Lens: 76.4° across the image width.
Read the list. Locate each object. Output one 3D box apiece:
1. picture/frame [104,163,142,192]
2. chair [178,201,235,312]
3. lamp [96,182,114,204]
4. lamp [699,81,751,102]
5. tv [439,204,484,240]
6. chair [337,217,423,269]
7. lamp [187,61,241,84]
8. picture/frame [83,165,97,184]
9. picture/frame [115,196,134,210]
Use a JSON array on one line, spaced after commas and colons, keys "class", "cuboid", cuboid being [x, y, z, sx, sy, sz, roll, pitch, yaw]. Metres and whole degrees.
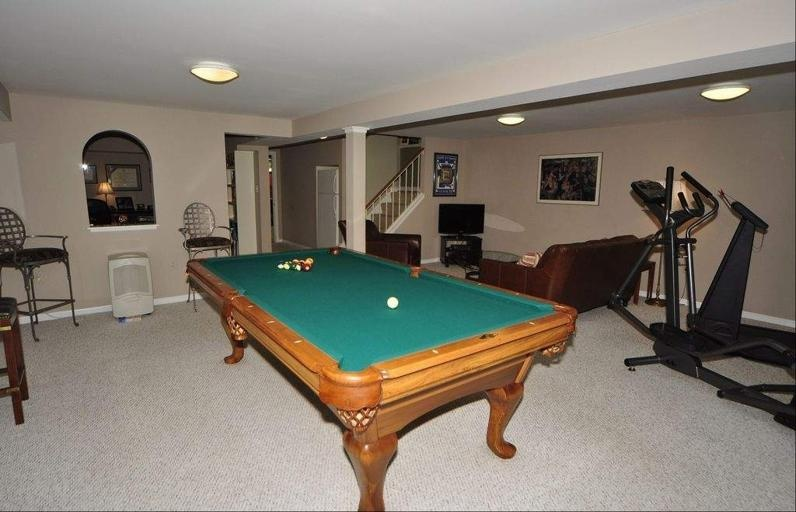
[{"class": "picture/frame", "cuboid": [-5.836, -1.686, 10.658, 0.036, 0.530, 0.525, 8, 22, 40]}, {"class": "chair", "cuboid": [-2.938, -0.060, 7.677, 0.723, 1.420, 0.691, -8, 14, -42]}, {"class": "lamp", "cuboid": [-6.089, -1.320, 10.532, 0.305, 0.504, 0.100, -7, 12, -30]}, {"class": "lamp", "cuboid": [3.746, -1.901, 5.784, 0.339, 0.135, 0.385, -3, 9, -13]}, {"class": "tv", "cuboid": [1.303, -0.759, 10.412, 0.933, 0.668, 0.376, 0, 10, 6]}, {"class": "chair", "cuboid": [-0.262, -0.206, 8.598, 1.107, 1.025, 0.958, 2, 8, 11]}, {"class": "lamp", "cuboid": [-2.016, -2.036, 5.558, 0.498, 0.166, 0.271, -3, 9, -13]}, {"class": "picture/frame", "cuboid": [-6.292, -1.696, 10.334, 0.136, 0.395, 0.213, 3, 11, 23]}, {"class": "picture/frame", "cuboid": [-5.850, -1.145, 10.767, 0.275, 0.278, 0.099, -13, 8, -32]}]
